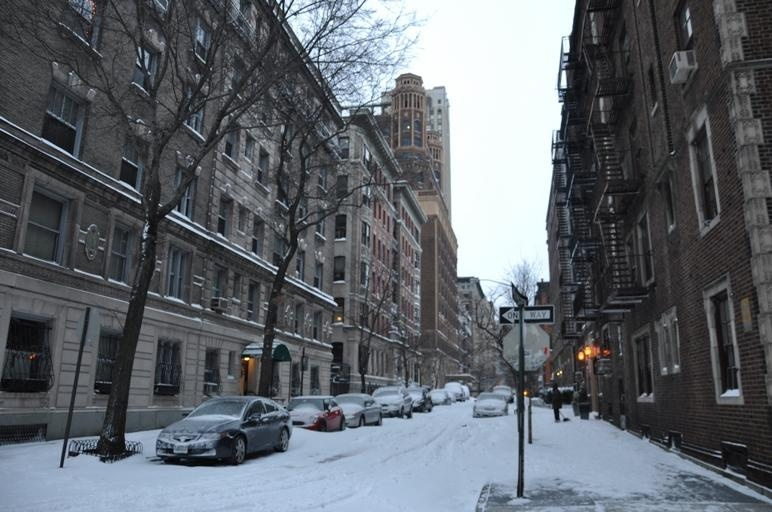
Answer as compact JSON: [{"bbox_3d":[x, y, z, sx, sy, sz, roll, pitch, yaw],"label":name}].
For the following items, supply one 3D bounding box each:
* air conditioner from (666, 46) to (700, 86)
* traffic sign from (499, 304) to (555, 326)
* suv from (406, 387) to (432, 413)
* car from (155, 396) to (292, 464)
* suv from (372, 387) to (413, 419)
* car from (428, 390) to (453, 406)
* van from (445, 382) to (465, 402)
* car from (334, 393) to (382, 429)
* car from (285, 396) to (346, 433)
[{"bbox_3d":[9.165,-5.890,17.920,0.544,0.760,0.853,-5,-19,8],"label":"air conditioner"},{"bbox_3d":[3.658,1.400,15.074,1.436,0.575,0.668,-7,-20,8],"label":"traffic sign"},{"bbox_3d":[2.681,10.747,44.218,1.110,0.999,2.785,-4,-22,11],"label":"suv"},{"bbox_3d":[-5.053,5.489,18.687,1.808,2.158,4.203,-13,-22,27],"label":"car"},{"bbox_3d":[0.679,9.486,38.644,1.405,1.270,3.269,-4,-21,11],"label":"suv"},{"bbox_3d":[5.096,12.776,53.800,1.286,1.110,3.155,-4,-27,11],"label":"car"},{"bbox_3d":[7.243,13.812,61.227,1.395,1.323,3.401,-3,-23,9],"label":"van"},{"bbox_3d":[-1.411,7.904,30.478,1.162,0.980,2.839,-5,-21,14],"label":"car"},{"bbox_3d":[-3.065,7.016,26.354,1.371,1.083,2.424,-5,-27,15],"label":"car"}]
